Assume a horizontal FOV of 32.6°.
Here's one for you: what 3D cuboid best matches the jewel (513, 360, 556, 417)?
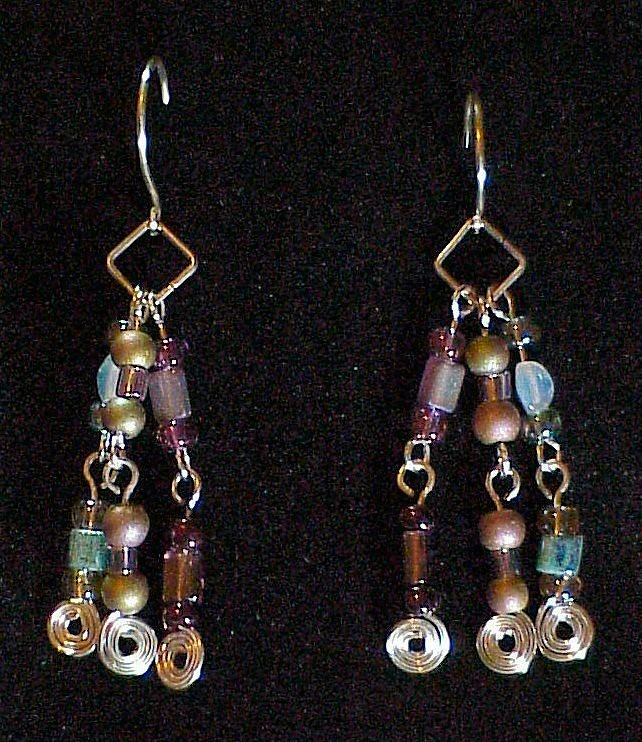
[{"bbox_3d":[0.319,0.027,1.597,0.060,0.023,0.076,-1,93,3],"label":"jewel"}]

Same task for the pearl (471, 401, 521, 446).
[{"bbox_3d":[0.251,0.075,1.579,0.067,0.063,0.063,-4,74,2],"label":"pearl"}]

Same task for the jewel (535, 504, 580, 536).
[{"bbox_3d":[0.346,0.212,1.577,0.038,0.051,0.045,1,108,11],"label":"jewel"}]

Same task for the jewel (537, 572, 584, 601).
[{"bbox_3d":[0.343,0.311,1.574,0.050,0.037,0.037,-2,85,20],"label":"jewel"}]

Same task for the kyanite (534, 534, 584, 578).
[{"bbox_3d":[0.342,0.268,1.581,0.059,0.035,0.062,7,73,1],"label":"kyanite"}]

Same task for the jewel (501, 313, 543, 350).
[{"bbox_3d":[0.306,-0.056,1.628,0.051,0.013,0.048,2,75,-12],"label":"jewel"}]

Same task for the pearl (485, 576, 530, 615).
[{"bbox_3d":[0.264,0.320,1.602,0.056,0.054,0.061,-13,103,-37],"label":"pearl"}]

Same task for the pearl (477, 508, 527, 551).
[{"bbox_3d":[0.257,0.228,1.562,0.065,0.060,0.059,-2,91,23],"label":"pearl"}]

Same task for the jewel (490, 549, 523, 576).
[{"bbox_3d":[0.266,0.277,1.572,0.040,0.040,0.042,-6,89,24],"label":"jewel"}]
